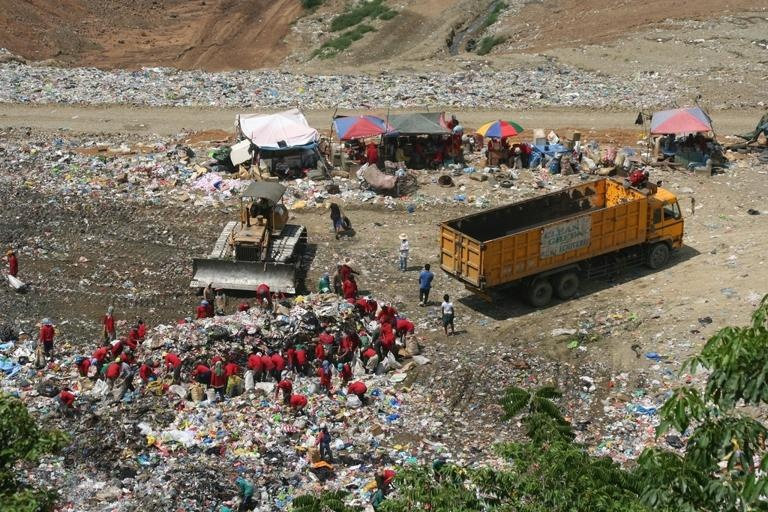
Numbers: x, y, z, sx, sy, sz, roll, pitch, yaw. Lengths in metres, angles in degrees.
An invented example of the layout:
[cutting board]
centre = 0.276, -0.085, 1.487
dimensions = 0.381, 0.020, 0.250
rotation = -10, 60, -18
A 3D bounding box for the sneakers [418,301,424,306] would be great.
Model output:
[sneakers]
centre = 1.076, 1.415, 23.127
dimensions = 0.143, 0.098, 0.213
rotation = -2, 0, -5

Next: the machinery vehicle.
[machinery vehicle]
centre = -3.996, -0.701, 24.189
dimensions = 2.989, 2.129, 3.569
rotation = 2, 34, 0

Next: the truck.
[truck]
centre = 5.071, -0.192, 23.968
dimensions = 8.268, 2.931, 3.319
rotation = -17, 29, -18

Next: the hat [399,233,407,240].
[hat]
centre = 0.600, -0.640, 25.472
dimensions = 0.268, 0.067, 0.267
rotation = 5, 16, 18

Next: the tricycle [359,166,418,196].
[tricycle]
centre = 0.249, -2.714, 28.968
dimensions = 1.886, 0.651, 1.242
rotation = 13, 7, -23
